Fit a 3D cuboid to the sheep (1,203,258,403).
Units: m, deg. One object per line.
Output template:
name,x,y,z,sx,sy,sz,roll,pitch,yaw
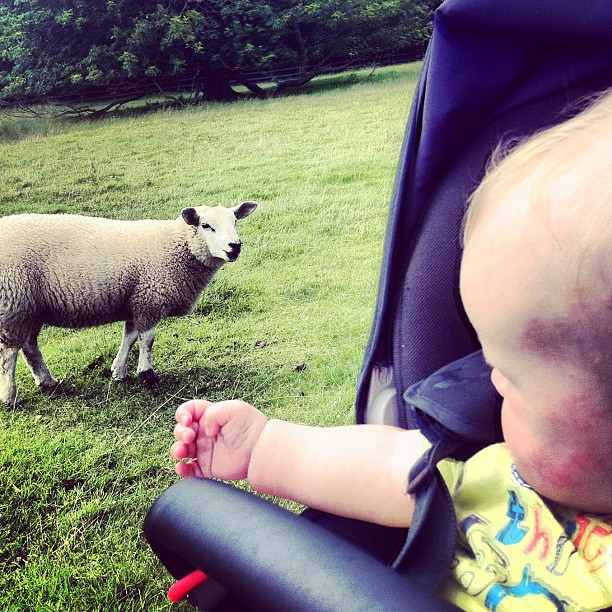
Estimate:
sheep,-0.584,-0.001,2.288,0.673,0.427,0.244,-1,-3,-33
